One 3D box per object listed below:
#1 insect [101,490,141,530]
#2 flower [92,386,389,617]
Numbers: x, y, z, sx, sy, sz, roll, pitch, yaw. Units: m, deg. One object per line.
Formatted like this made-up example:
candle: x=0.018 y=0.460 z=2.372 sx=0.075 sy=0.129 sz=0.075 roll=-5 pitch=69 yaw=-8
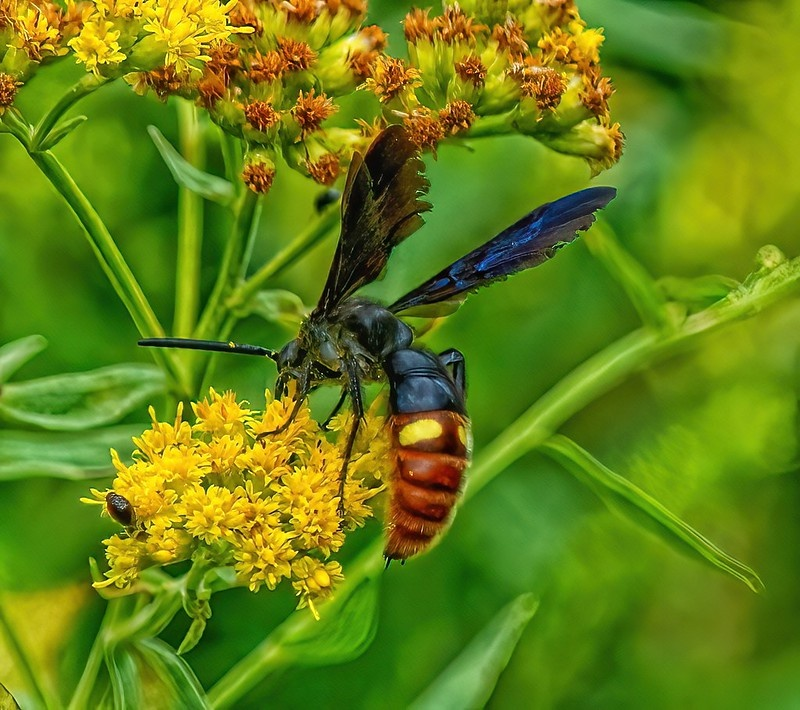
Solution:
insect: x=-0.431 y=0.252 z=1.423 sx=0.049 sy=0.072 sz=0.043 roll=-5 pitch=20 yaw=-7
flower: x=-0.260 y=0.292 z=1.593 sx=0.391 sy=0.229 sz=0.382 roll=-29 pitch=67 yaw=-18
